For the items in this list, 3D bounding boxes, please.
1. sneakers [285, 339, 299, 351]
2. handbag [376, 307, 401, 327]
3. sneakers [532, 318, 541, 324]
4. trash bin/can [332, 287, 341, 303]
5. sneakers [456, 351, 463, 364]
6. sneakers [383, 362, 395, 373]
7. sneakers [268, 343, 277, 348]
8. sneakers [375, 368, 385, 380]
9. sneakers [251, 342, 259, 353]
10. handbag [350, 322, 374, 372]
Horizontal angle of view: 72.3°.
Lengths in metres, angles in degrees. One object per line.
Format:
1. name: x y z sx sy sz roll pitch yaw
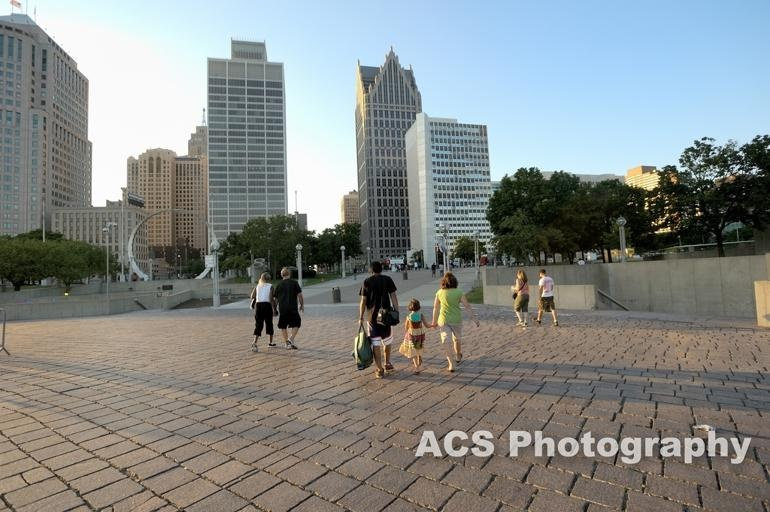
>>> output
1. sneakers: -2.436 2.309 13.647 0.161 0.418 0.176 -20 37 20
2. handbag: 0.050 1.254 10.836 0.420 0.360 0.248 -2 7 -3
3. sneakers: 4.806 2.056 16.711 0.132 0.143 0.349 0 10 -9
4. trash bin/can: -2.695 2.140 29.089 0.703 0.977 0.592 0 -6 -7
5. sneakers: 1.615 2.239 11.623 0.224 0.250 0.684 -1 -8 6
6. sneakers: 0.084 2.323 10.987 0.198 0.193 0.136 -4 7 -20
7. sneakers: -2.964 2.350 13.903 0.257 0.149 0.088 1 -1 -11
8. sneakers: -0.105 2.427 10.831 0.183 0.139 0.476 1 -5 -5
9. sneakers: -3.325 2.294 13.450 0.171 0.257 0.443 -3 7 -14
10. handbag: -0.469 1.881 10.901 0.358 0.886 0.330 -7 8 -36
